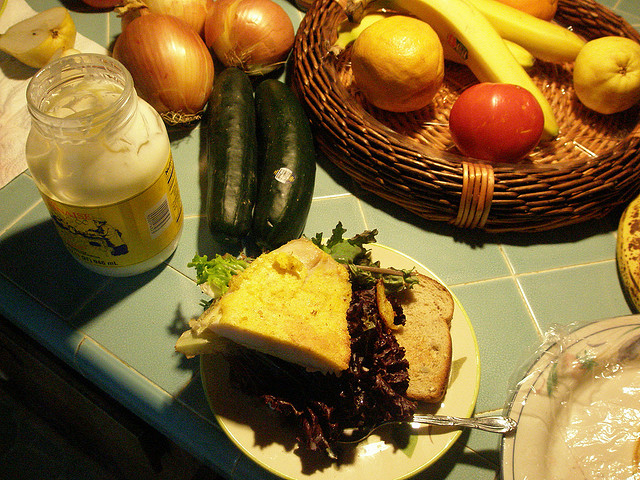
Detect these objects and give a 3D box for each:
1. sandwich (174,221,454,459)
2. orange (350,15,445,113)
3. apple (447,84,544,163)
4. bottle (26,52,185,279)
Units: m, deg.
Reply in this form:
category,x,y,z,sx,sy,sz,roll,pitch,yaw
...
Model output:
category,x,y,z,sx,sy,sz,roll,pitch,yaw
sandwich,0.003,0.144,0.842,0.379,0.123,0.370,39,31,19
orange,0.163,-0.322,1.111,0.176,0.172,0.190,10,77,28
apple,0.350,-0.220,1.105,0.185,0.184,0.185,-2,91,19
bottle,-0.345,-0.111,0.888,0.180,0.334,0.204,-3,53,-10
